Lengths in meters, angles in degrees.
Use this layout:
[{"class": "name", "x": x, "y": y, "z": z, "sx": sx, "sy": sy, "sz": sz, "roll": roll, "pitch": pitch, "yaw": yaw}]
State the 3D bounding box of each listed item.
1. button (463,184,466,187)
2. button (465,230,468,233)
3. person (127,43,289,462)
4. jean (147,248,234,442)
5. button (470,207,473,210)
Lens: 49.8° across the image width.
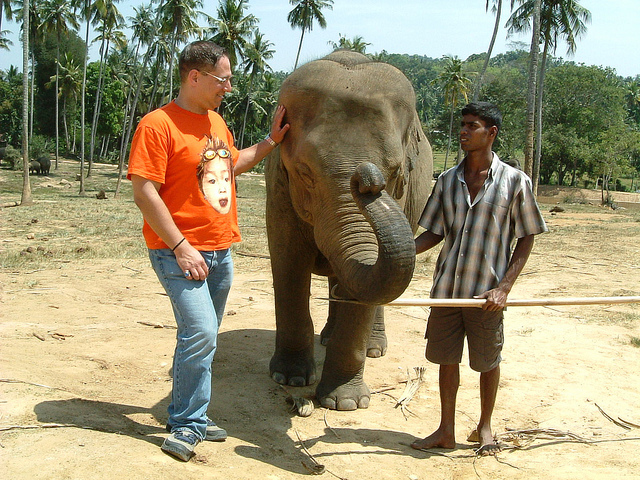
[{"class": "button", "x": 1.134, "y": -0.432, "z": 5.440, "sx": 0.035, "sy": 0.029, "sz": 0.012, "roll": 2, "pitch": -15, "yaw": 6}, {"class": "button", "x": 1.144, "y": -0.070, "z": 5.413, "sx": 0.022, "sy": 0.021, "sz": 0.005, "roll": 4, "pitch": 12, "yaw": -7}, {"class": "person", "x": -1.028, "y": 0.017, "z": 5.113, "sx": 0.789, "sy": 2.922, "sz": 1.003, "roll": 5, "pitch": 12, "yaw": -9}, {"class": "jean", "x": -0.989, "y": 0.772, "z": 5.156, "sx": 0.567, "sy": 1.419, "sz": 0.622, "roll": 5, "pitch": 12, "yaw": -8}, {"class": "button", "x": 1.181, "y": -0.252, "z": 5.398, "sx": 0.019, "sy": 0.021, "sz": 0.006, "roll": 1, "pitch": -8, "yaw": -1}]
